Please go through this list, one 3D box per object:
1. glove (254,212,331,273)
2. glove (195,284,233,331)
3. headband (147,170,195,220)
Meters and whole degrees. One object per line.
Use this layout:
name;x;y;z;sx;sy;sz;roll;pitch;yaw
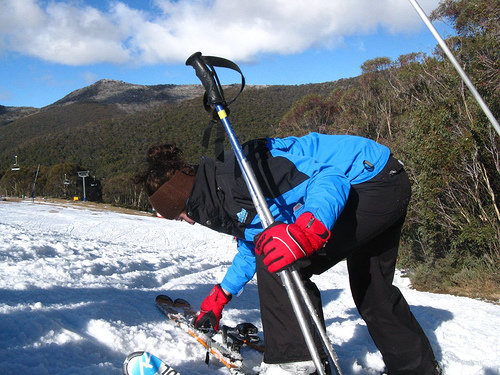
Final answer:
glove;0.344;0.438;2.707;0.657;0.304;0.508;-30;8;-21
glove;-0.360;1.326;3.693;0.431;0.230;0.594;-8;25;13
headband;-0.672;0.073;3.243;0.269;0.475;0.361;34;-1;-3
